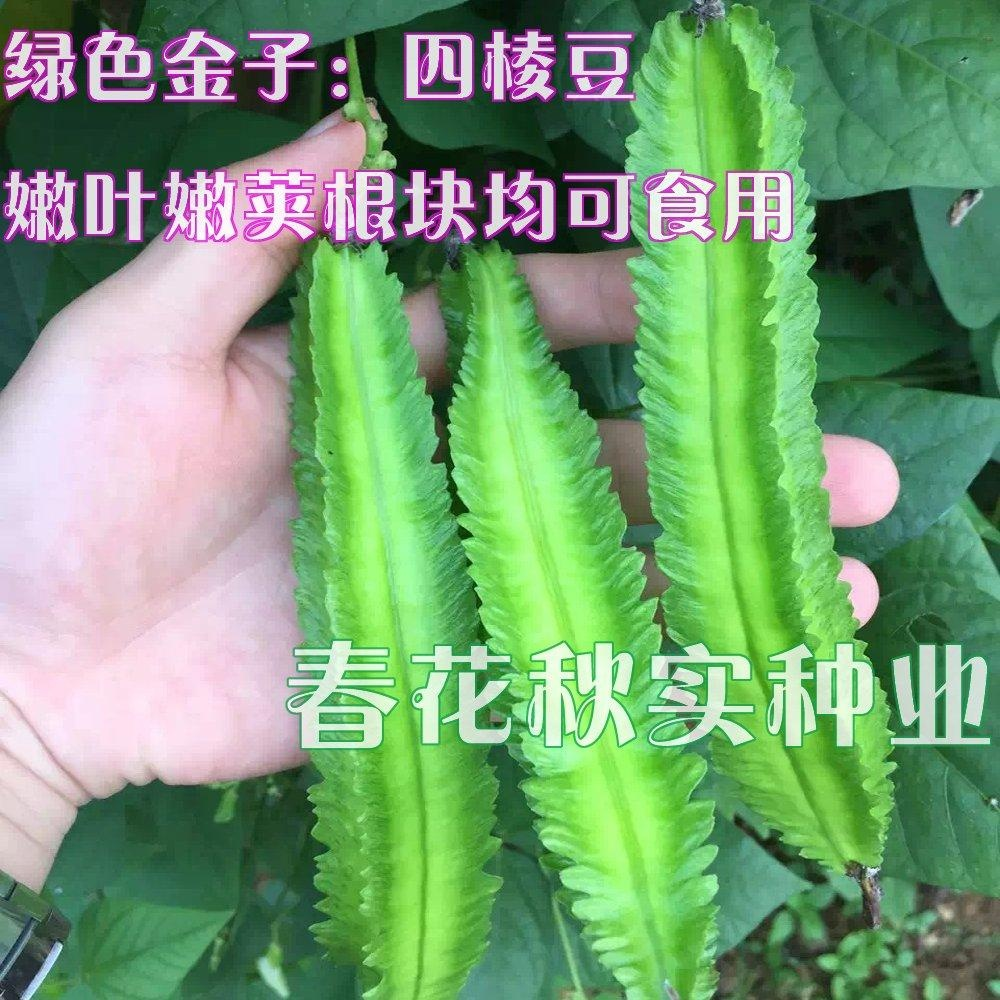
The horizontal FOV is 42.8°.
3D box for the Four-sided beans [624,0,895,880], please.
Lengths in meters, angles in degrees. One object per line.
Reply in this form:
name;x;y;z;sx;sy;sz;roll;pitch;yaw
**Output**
Four-sided beans;0.207;-0.064;1.010;0.220;0.115;0.689;-3;90;6
